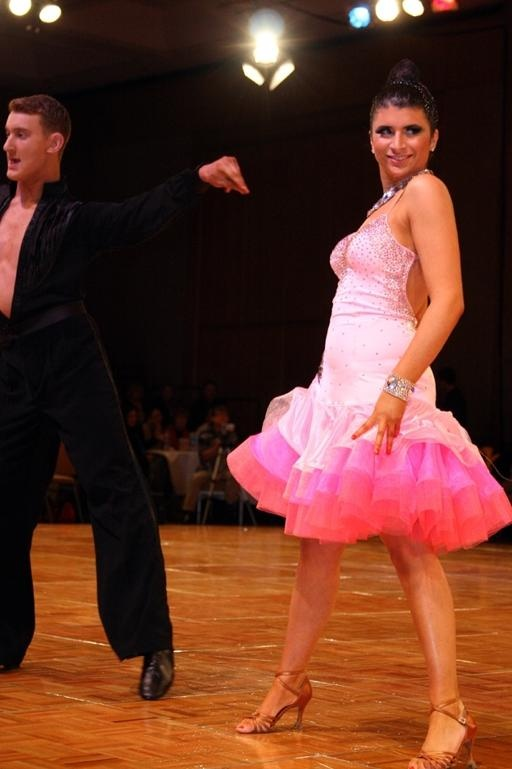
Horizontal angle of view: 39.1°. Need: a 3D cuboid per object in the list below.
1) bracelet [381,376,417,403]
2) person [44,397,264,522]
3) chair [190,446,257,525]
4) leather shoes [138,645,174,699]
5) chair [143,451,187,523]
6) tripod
[{"bbox_3d":[0.227,0.007,1.148,0.038,0.031,0.047,23,-8,12],"label":"bracelet"},{"bbox_3d":[-0.699,0.623,5.378,1.589,0.701,1.514,-1,-7,0],"label":"person"},{"bbox_3d":[-0.510,1.250,8.650,0.778,0.965,0.779,3,-4,14],"label":"chair"},{"bbox_3d":[-0.230,0.675,1.680,0.046,0.052,0.130,-7,4,4],"label":"leather shoes"},{"bbox_3d":[-1.143,1.179,8.661,0.446,0.579,0.415,2,-8,3],"label":"chair"},{"bbox_3d":[-0.514,1.287,8.698,0.650,0.792,0.609,-6,-12,-34],"label":"tripod"}]
